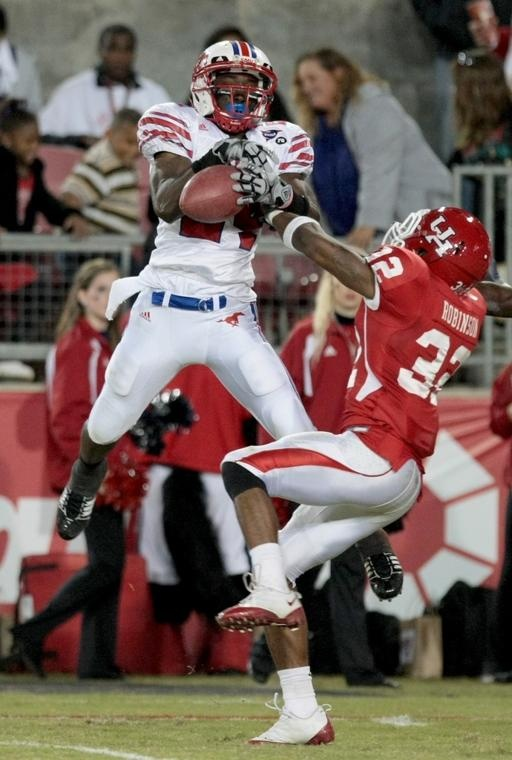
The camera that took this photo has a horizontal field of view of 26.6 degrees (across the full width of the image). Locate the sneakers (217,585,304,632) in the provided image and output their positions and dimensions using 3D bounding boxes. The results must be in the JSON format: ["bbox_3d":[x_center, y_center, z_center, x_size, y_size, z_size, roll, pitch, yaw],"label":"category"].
[{"bbox_3d":[0.016,0.584,2.747,0.270,0.084,0.113,3,41,-23],"label":"sneakers"}]

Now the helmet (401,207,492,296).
[{"bbox_3d":[0.534,-0.373,3.140,0.259,0.244,0.212,-4,4,18],"label":"helmet"}]

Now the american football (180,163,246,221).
[{"bbox_3d":[-0.131,-0.514,3.060,0.190,0.119,0.112,-31,6,-18],"label":"american football"}]

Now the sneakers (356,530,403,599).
[{"bbox_3d":[0.357,0.541,3.198,0.110,0.201,0.069,-17,-36,2],"label":"sneakers"}]

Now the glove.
[{"bbox_3d":[-0.004,-0.564,3.026,0.184,0.224,0.105,-42,-16,-6],"label":"glove"}]

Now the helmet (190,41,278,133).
[{"bbox_3d":[-0.058,-0.909,3.406,0.273,0.236,0.313,2,8,-15],"label":"helmet"}]

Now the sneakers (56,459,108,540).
[{"bbox_3d":[-0.602,0.412,3.700,0.137,0.317,0.134,18,20,-3],"label":"sneakers"}]

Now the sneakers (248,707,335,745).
[{"bbox_3d":[0.111,0.923,2.897,0.261,0.086,0.079,1,-5,0],"label":"sneakers"}]
